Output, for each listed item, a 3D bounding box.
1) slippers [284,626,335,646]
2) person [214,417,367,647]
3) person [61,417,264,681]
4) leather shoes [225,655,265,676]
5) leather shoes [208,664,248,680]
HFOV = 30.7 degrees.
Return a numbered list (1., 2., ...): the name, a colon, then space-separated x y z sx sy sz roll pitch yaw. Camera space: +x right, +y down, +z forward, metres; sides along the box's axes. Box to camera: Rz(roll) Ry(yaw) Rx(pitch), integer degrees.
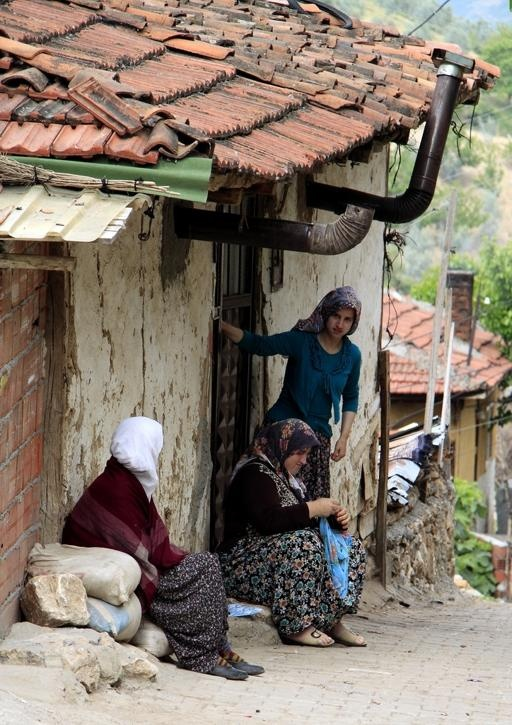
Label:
1. slippers: 0.247 1.231 4.201 0.245 0.109 0.085 -4 0 2
2. person: 0.165 0.789 4.382 0.684 1.034 0.580 -3 -8 24
3. person: -0.333 0.658 3.386 0.708 0.755 0.221 14 -6 -23
4. leather shoes: -0.038 1.157 3.532 0.151 0.062 0.056 4 -1 24
5. leather shoes: -0.102 1.133 3.397 0.144 0.044 0.053 4 3 3
